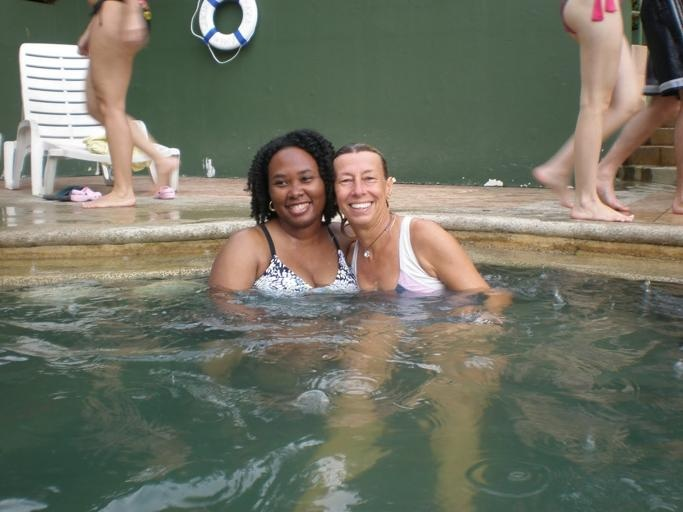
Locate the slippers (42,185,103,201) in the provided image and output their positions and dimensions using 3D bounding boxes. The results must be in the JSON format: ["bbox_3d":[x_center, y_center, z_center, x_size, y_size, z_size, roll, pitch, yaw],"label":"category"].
[{"bbox_3d":[-2.797,-0.651,6.192,0.542,0.146,0.294,-1,12,-15],"label":"slippers"}]

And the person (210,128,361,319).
[{"bbox_3d":[-0.228,-0.232,3.427,1.202,0.865,0.555,-7,7,-5],"label":"person"}]

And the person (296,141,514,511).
[{"bbox_3d":[0.340,0.030,2.572,0.803,1.193,1.840,-1,4,3],"label":"person"}]

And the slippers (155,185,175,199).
[{"bbox_3d":[-1.915,-0.691,6.464,0.128,0.083,0.230,-10,5,-34],"label":"slippers"}]
